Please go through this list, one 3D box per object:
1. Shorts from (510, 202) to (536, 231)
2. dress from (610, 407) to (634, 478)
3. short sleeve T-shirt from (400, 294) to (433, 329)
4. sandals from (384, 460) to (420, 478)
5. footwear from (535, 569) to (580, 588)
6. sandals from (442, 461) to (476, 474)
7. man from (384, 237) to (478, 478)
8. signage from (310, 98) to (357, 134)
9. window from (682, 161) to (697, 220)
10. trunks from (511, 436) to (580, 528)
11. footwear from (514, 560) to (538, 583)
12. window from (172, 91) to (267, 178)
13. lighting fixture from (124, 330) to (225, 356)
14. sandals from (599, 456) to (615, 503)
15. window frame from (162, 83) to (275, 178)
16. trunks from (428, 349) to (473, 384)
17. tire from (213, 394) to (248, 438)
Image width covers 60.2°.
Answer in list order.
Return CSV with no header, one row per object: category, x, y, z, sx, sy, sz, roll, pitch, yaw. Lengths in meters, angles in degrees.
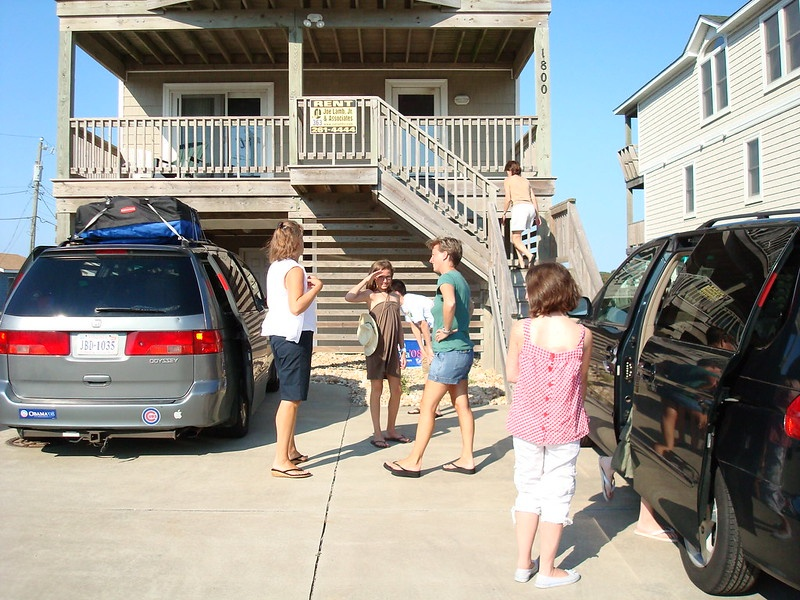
Shorts,2.057,-1.353,11.285,0.423,0.461,0.287,0,5,-5
dress,1.647,1.006,4.956,0.165,0.406,0.132,2,-17,35
short sleeve T-shirt,0.191,0.130,7.902,0.346,0.142,0.367,28,41,3
sandals,0.030,1.500,6.115,0.266,0.074,0.130,5,0,15
footwear,1.011,1.760,4.388,0.293,0.103,0.110,-3,4,-15
sandals,0.548,1.524,6.254,0.218,0.074,0.122,4,2,28
man,0.379,0.508,6.135,0.801,2.116,0.466,-4,7,-43
signage,-1.165,-3.233,12.100,0.633,0.477,0.029,0,-2,0
window,8.708,-3.296,20.519,0.692,1.419,0.069,-16,13,-41
trunks,0.920,1.034,4.339,0.422,0.848,0.265,7,26,17
footwear,0.812,1.741,4.433,0.071,0.075,0.201,-2,2,29
window,-3.763,-3.405,14.302,2.189,1.974,0.188,-2,-10,0
lighting fixture,-2.027,0.382,6.124,0.795,0.227,0.108,-1,6,-21
sandals,1.464,1.254,4.773,0.074,0.221,0.051,2,10,-5
window frame,-3.808,-3.510,14.374,2.264,2.288,0.750,-1,-6,10
trunks,0.441,0.565,6.098,0.280,0.300,0.404,12,5,34
tire,-1.663,1.120,6.739,0.165,0.464,0.450,0,-17,8
